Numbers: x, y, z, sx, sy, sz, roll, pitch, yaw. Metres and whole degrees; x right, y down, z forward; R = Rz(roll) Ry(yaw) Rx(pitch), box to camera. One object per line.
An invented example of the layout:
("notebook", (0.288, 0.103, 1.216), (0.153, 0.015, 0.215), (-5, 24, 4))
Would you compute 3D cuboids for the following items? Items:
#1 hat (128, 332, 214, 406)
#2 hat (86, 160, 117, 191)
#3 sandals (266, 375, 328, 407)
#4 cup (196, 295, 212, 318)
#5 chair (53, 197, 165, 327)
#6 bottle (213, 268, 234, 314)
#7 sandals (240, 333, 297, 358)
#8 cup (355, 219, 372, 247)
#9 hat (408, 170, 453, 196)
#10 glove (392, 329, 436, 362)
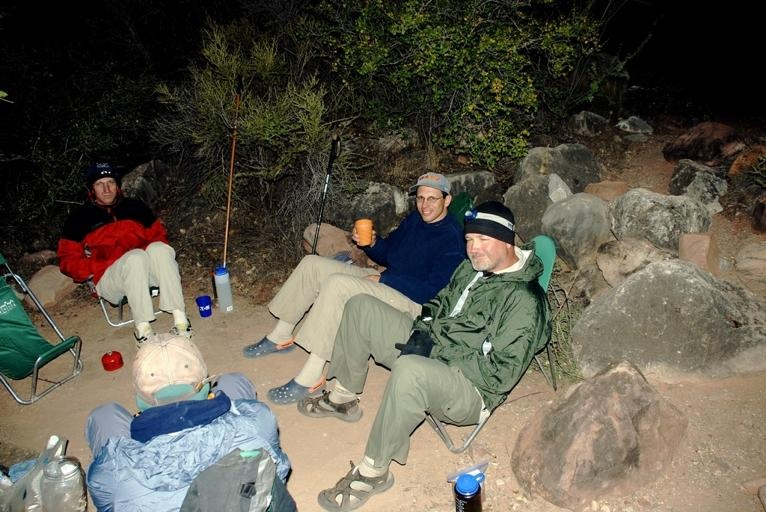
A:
("hat", (-1.748, 0.960, 4.624), (0.451, 0.690, 0.345), (-9, -17, -12))
("hat", (-3.843, -1.090, 7.643), (0.329, 0.300, 0.360), (-20, 6, -41))
("sandals", (-1.009, 1.583, 6.447), (0.618, 0.223, 0.295), (-4, 15, -12))
("cup", (-2.434, 0.710, 7.860), (0.256, 0.307, 0.261), (-1, 9, 0))
("chair", (-3.642, 0.161, 7.527), (1.481, 1.538, 0.868), (-11, 6, -22))
("bottle", (-2.209, 0.478, 7.843), (0.249, 0.665, 0.276), (-1, 10, -17))
("sandals", (-1.424, 1.148, 7.039), (0.648, 0.252, 0.250), (2, -3, -21))
("cup", (-0.255, -0.250, 6.820), (0.259, 0.323, 0.270), (1, 5, 0))
("hat", (0.645, -0.874, 6.894), (0.328, 0.221, 0.462), (0, -3, 36))
("glove", (0.341, 0.937, 5.909), (0.279, 0.352, 0.289), (-4, 23, -20))
